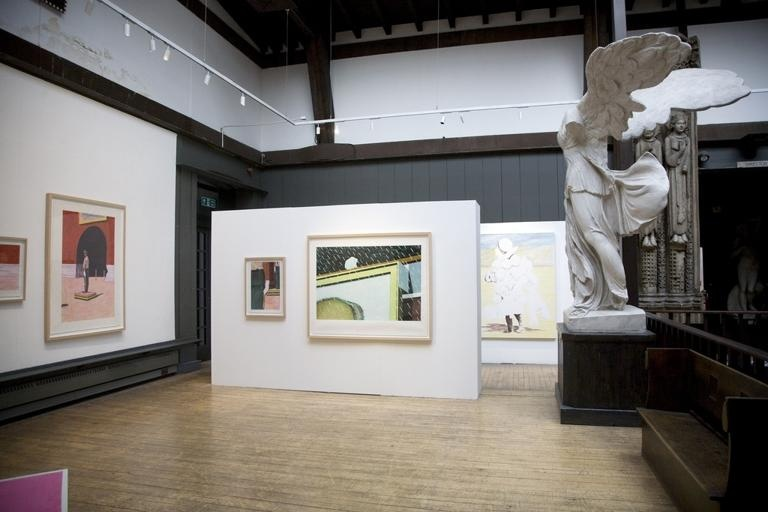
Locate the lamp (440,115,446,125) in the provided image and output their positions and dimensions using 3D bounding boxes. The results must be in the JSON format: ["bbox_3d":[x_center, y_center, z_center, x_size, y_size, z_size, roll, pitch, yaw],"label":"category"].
[{"bbox_3d":[1.182,-2.701,11.203,0.133,0.218,0.112,7,-21,0],"label":"lamp"}]

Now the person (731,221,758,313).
[{"bbox_3d":[8.501,0.324,13.095,0.565,1.767,0.953,7,15,33],"label":"person"}]

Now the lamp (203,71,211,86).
[{"bbox_3d":[-3.271,-3.300,10.359,0.143,0.246,1.581,-5,15,-16],"label":"lamp"}]

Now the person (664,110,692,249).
[{"bbox_3d":[5.526,-1.401,10.504,0.529,2.493,0.598,3,13,17],"label":"person"}]

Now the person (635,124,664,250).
[{"bbox_3d":[5.035,-1.258,10.591,0.541,2.270,0.661,3,13,15],"label":"person"}]

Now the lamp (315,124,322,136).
[{"bbox_3d":[-1.433,-2.746,12.186,0.153,0.292,0.171,0,3,4],"label":"lamp"}]
